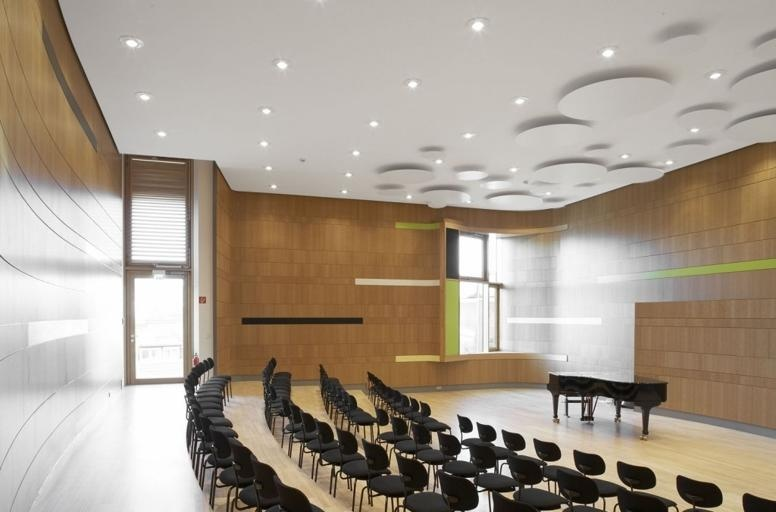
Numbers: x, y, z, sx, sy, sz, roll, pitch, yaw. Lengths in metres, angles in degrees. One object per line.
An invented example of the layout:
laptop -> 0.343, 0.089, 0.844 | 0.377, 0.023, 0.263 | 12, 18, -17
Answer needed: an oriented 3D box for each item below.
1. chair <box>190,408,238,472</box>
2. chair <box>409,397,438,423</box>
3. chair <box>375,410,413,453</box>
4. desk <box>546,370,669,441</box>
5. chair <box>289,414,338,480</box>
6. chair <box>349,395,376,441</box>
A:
chair -> -2.719, 2.850, 7.675 | 0.548, 0.789, 1.250 | 1, -5, -24
chair -> 0.646, 3.180, 10.240 | 0.512, 0.652, 0.498 | 3, -3, -35
chair -> 0.114, 3.190, 8.791 | 0.451, 0.612, 0.470 | 20, -30, -9
desk -> 4.854, 3.074, 11.373 | 1.706, 0.904, 1.899 | 1, -2, -11
chair -> -1.186, 3.105, 8.248 | 0.758, 0.904, 0.797 | 5, -12, 37
chair -> -0.504, 3.266, 10.055 | 0.452, 0.615, 0.399 | 22, -10, -36
